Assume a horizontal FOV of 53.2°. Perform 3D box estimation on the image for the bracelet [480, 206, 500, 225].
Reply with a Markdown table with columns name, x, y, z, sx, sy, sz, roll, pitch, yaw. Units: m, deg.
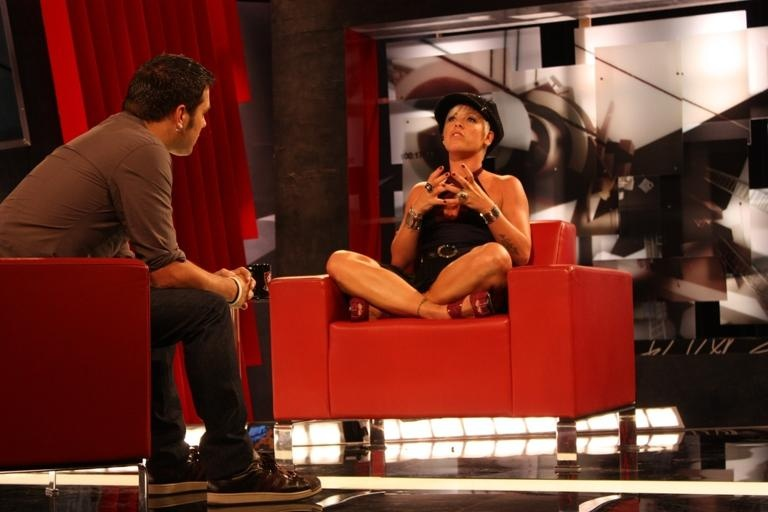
| name | x | y | z | sx | sy | sz | roll | pitch | yaw |
| --- | --- | --- | --- | --- | --- | --- | --- | --- | --- |
| bracelet | 0.509 | -0.193 | 3.709 | 0.092 | 0.071 | 0.079 | -14 | 10 | 43 |

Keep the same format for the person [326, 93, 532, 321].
| name | x | y | z | sx | sy | sz | roll | pitch | yaw |
| --- | --- | --- | --- | --- | --- | --- | --- | --- | --- |
| person | 0.318 | -0.278 | 3.814 | 0.906 | 1.145 | 0.919 | 1 | -2 | -40 |

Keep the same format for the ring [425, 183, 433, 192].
| name | x | y | z | sx | sy | sz | roll | pitch | yaw |
| --- | --- | --- | --- | --- | --- | --- | --- | --- | --- |
| ring | 0.217 | -0.335 | 3.813 | 0.030 | 0.039 | 0.015 | -4 | -1 | 4 |

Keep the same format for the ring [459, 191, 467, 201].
| name | x | y | z | sx | sy | sz | roll | pitch | yaw |
| --- | --- | --- | --- | --- | --- | --- | --- | --- | --- |
| ring | 0.375 | -0.283 | 3.676 | 0.041 | 0.039 | 0.022 | 7 | 7 | 14 |

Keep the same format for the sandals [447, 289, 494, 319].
| name | x | y | z | sx | sy | sz | roll | pitch | yaw |
| --- | --- | --- | --- | --- | --- | --- | --- | --- | --- |
| sandals | 0.383 | 0.224 | 3.465 | 0.168 | 0.064 | 0.110 | -15 | 36 | 16 |

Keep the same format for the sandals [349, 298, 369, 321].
| name | x | y | z | sx | sy | sz | roll | pitch | yaw |
| --- | --- | --- | --- | --- | --- | --- | --- | --- | --- |
| sandals | -0.119 | 0.252 | 3.587 | 0.089 | 0.119 | 0.096 | -1 | -10 | 6 |

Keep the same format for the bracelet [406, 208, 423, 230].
| name | x | y | z | sx | sy | sz | roll | pitch | yaw |
| --- | --- | --- | --- | --- | --- | --- | --- | --- | --- |
| bracelet | 0.150 | -0.176 | 3.838 | 0.071 | 0.093 | 0.095 | 1 | 0 | 6 |

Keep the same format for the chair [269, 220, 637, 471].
| name | x | y | z | sx | sy | sz | roll | pitch | yaw |
| --- | --- | --- | --- | --- | --- | --- | --- | --- | --- |
| chair | 0.279 | 0.260 | 3.887 | 1.488 | 0.803 | 1.045 | -4 | 3 | 13 |

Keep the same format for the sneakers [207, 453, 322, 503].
| name | x | y | z | sx | sy | sz | roll | pitch | yaw |
| --- | --- | --- | --- | --- | --- | --- | --- | --- | --- |
| sneakers | -0.466 | 0.887 | 3.072 | 0.472 | 0.193 | 0.171 | 0 | -5 | -14 |
